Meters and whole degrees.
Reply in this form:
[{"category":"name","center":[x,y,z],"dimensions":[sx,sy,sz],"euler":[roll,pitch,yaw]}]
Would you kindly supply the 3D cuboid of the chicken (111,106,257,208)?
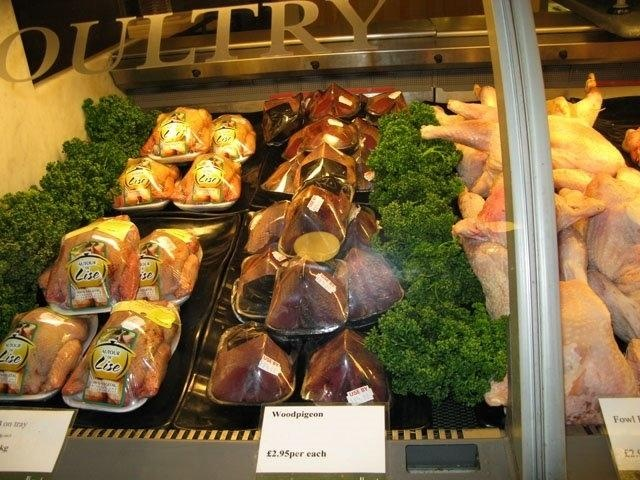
[{"category":"chicken","center":[-0.565,-0.362,2.206],"dimensions":[0.627,0.449,0.491],"euler":[-6,29,5]}]
